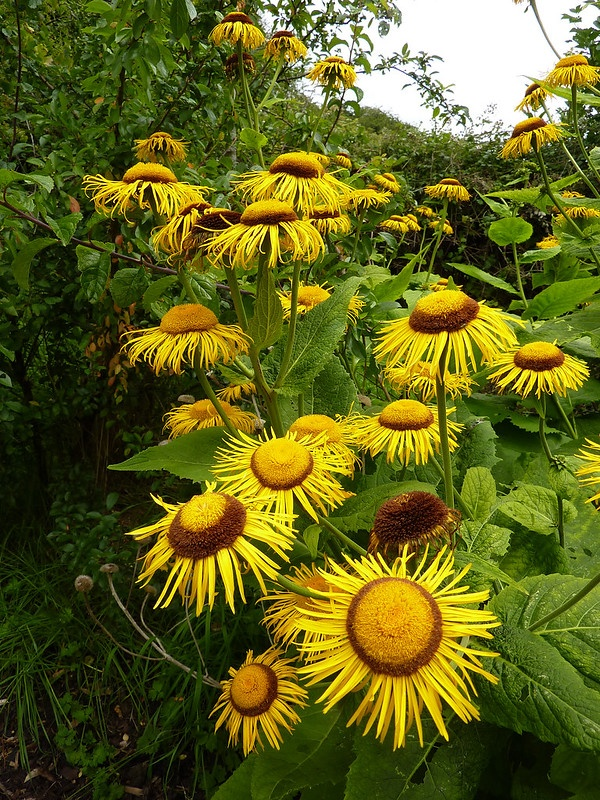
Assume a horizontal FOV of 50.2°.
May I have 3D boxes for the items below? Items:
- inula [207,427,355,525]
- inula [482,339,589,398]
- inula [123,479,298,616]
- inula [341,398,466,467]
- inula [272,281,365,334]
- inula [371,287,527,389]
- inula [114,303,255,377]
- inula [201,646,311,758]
[{"bbox_3d":[-0.034,0.131,1.316,0.277,0.066,0.272,13,44,6],"label":"inula"},{"bbox_3d":[0.592,-0.086,1.573,0.239,0.068,0.248,2,-17,33],"label":"inula"},{"bbox_3d":[-0.147,0.254,1.139,0.317,0.100,0.285,-22,28,-8],"label":"inula"},{"bbox_3d":[0.256,0.056,1.531,0.272,0.078,0.242,-4,28,20],"label":"inula"},{"bbox_3d":[0.055,-0.250,1.746,0.239,0.066,0.221,3,30,5],"label":"inula"},{"bbox_3d":[0.283,-0.107,1.220,0.200,0.192,0.251,-11,24,-21],"label":"inula"},{"bbox_3d":[-0.268,-0.132,1.529,0.285,0.186,0.239,-2,23,-1],"label":"inula"},{"bbox_3d":[-0.107,0.711,1.542,0.240,0.075,0.261,-50,41,-9],"label":"inula"}]
